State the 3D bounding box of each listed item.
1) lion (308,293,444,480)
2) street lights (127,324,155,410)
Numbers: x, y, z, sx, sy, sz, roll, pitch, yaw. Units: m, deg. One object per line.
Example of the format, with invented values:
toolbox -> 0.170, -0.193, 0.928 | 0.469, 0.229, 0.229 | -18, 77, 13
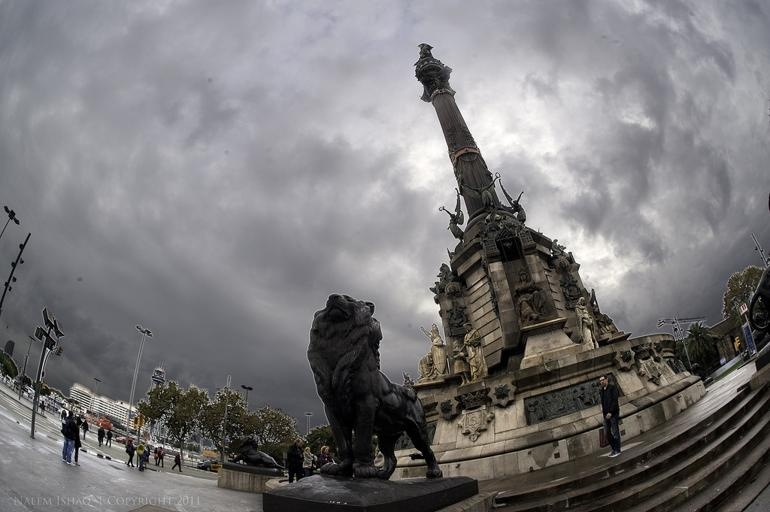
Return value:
lion -> -0.433, 2.637, 8.956 | 2.251, 4.251, 1.778 | 0, -16, 3
street lights -> -4.602, 1.992, 8.241 | 0.502, 1.706, 0.437 | -13, -51, -17
